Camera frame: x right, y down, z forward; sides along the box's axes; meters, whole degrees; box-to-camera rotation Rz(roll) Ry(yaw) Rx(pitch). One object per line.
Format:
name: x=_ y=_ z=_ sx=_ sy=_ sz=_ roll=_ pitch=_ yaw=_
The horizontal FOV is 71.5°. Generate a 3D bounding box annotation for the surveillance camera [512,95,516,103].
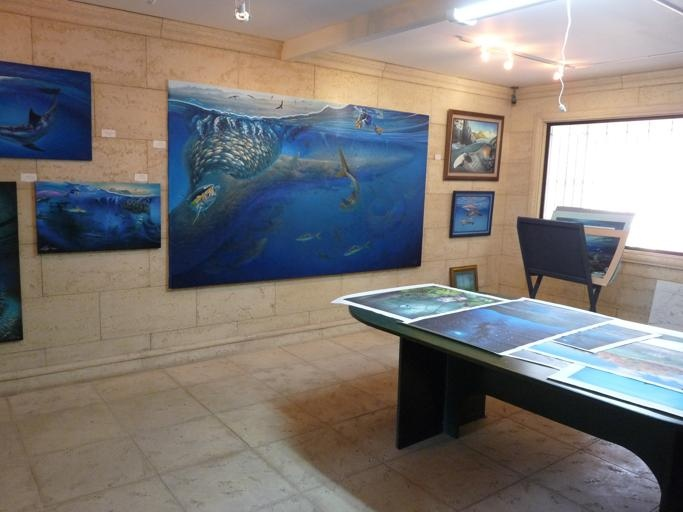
surveillance camera: x=2.623 y=-2.381 z=7.212 sx=0.081 sy=0.123 sz=0.046 roll=9 pitch=16 yaw=25
